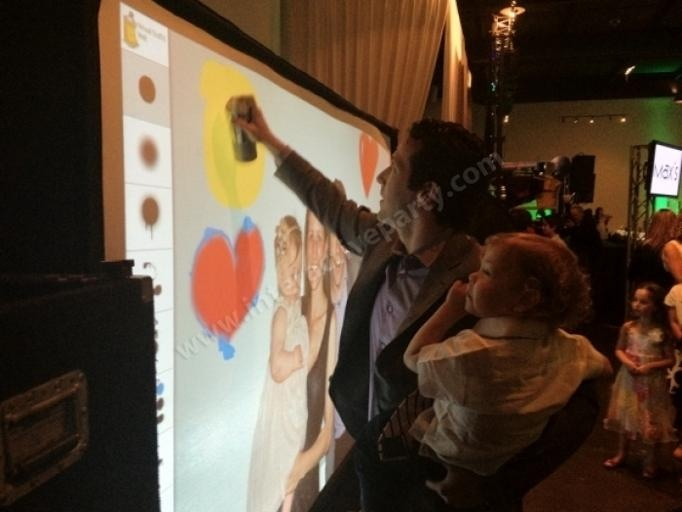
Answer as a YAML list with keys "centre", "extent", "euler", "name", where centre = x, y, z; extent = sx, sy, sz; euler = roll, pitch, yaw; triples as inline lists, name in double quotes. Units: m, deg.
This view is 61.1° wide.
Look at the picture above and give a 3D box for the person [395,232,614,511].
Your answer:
- centre: [0.467, 0.335, 1.648]
  extent: [0.564, 0.802, 0.264]
  euler: [1, 4, 20]
  name: "person"
